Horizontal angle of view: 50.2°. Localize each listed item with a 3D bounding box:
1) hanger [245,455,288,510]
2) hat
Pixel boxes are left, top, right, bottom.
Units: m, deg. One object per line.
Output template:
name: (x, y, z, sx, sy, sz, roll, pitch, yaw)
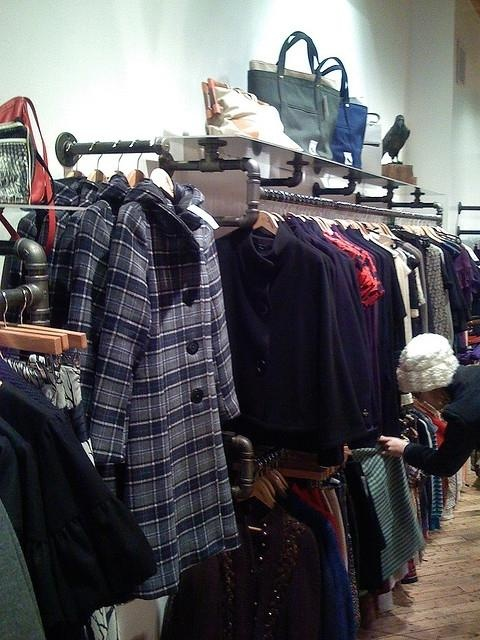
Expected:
hanger: (0.080, 0.496, 1.566, 0.038, 0.123, 0.128, 7, 4, 27)
hat: (0.697, 0.159, 1.928, 0.185, 0.192, 0.245, -8, -5, 22)
